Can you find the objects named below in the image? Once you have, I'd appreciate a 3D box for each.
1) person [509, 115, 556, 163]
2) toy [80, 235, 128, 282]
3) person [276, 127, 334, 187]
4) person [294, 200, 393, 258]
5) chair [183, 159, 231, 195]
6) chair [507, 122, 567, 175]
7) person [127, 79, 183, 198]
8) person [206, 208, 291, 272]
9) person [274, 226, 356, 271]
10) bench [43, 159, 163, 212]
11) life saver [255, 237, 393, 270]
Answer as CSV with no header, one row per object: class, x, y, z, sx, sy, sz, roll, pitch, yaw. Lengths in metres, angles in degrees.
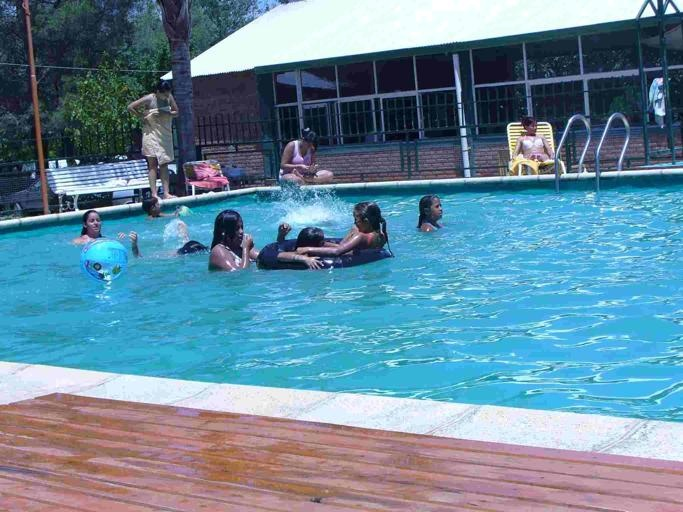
person,4.734,-2.801,13.823,1.275,1.135,0.914,-5,10,0
toy,-2.912,0.037,7.125,0.687,0.452,0.588,-9,17,-37
person,-0.992,-2.223,13.100,0.892,1.272,0.895,-8,15,-11
person,-0.011,-0.400,7.445,1.211,0.666,0.952,-6,14,-19
chair,-3.580,-2.039,14.814,1.080,0.810,0.696,-6,14,-7
chair,4.646,-2.546,13.883,1.410,1.561,1.533,-2,6,5
person,-4.260,-2.640,12.913,1.242,2.392,0.904,-11,18,-43
person,-1.344,-0.187,7.239,0.675,0.709,0.904,13,23,20
person,-0.380,-0.155,7.476,1.270,0.487,1.227,-7,14,-42
bench,-6.046,-1.739,14.302,2.246,0.785,0.767,-11,22,-36
life saver,-0.242,-0.002,7.094,1.640,0.274,0.629,-4,13,-1
